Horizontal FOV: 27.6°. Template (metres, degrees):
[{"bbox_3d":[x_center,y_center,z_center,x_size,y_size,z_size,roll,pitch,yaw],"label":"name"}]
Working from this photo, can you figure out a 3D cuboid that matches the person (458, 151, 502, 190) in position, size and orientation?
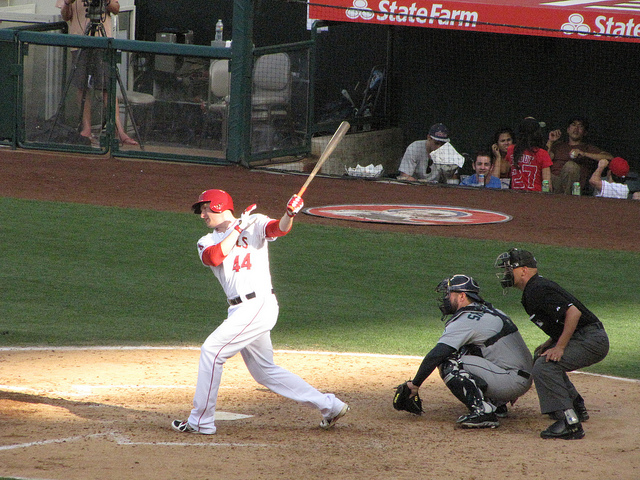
[{"bbox_3d":[2.740,-1.167,21.579,0.575,0.627,0.686,0,7,-25],"label":"person"}]

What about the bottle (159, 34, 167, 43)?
[{"bbox_3d":[-2.992,-3.853,24.817,0.156,0.120,0.033,0,-9,14],"label":"bottle"}]

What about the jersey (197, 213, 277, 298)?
[{"bbox_3d":[-0.824,0.184,13.547,0.761,0.889,0.779,0,17,-14],"label":"jersey"}]

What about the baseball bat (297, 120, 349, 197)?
[{"bbox_3d":[0.020,-0.919,14.236,0.168,1.437,0.149,33,41,5],"label":"baseball bat"}]

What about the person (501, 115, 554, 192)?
[{"bbox_3d":[3.342,-1.390,21.314,0.840,1.201,0.721,9,9,37],"label":"person"}]

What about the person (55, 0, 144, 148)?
[{"bbox_3d":[-3.712,-2.785,21.772,1.070,2.444,1.350,-1,9,-33],"label":"person"}]

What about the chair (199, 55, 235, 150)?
[{"bbox_3d":[-1.672,-2.264,21.405,0.505,1.512,0.464,2,7,-11],"label":"chair"}]

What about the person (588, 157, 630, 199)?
[{"bbox_3d":[4.895,-0.938,21.523,0.552,0.707,0.345,-12,-27,17],"label":"person"}]

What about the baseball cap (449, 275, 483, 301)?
[{"bbox_3d":[1.558,0.521,13.761,0.331,0.202,0.264,11,2,21],"label":"baseball cap"}]

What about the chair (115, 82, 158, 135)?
[{"bbox_3d":[-3.096,-2.246,21.350,0.577,0.651,0.539,4,18,-41],"label":"chair"}]

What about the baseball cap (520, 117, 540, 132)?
[{"bbox_3d":[3.346,-1.858,20.959,0.346,0.094,0.303,-16,20,-31],"label":"baseball cap"}]

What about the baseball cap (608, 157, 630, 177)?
[{"bbox_3d":[4.951,-1.195,21.549,0.327,0.315,0.470,4,7,9],"label":"baseball cap"}]

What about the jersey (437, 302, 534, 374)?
[{"bbox_3d":[1.739,1.135,13.811,1.035,0.705,1.264,7,9,15],"label":"jersey"}]

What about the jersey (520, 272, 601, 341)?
[{"bbox_3d":[2.476,0.739,13.497,0.754,0.696,0.262,4,7,7],"label":"jersey"}]

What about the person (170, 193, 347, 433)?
[{"bbox_3d":[-0.697,0.771,13.391,1.485,2.455,0.524,3,7,-5],"label":"person"}]

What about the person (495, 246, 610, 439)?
[{"bbox_3d":[2.421,1.081,13.576,1.168,1.893,0.705,5,7,10],"label":"person"}]
